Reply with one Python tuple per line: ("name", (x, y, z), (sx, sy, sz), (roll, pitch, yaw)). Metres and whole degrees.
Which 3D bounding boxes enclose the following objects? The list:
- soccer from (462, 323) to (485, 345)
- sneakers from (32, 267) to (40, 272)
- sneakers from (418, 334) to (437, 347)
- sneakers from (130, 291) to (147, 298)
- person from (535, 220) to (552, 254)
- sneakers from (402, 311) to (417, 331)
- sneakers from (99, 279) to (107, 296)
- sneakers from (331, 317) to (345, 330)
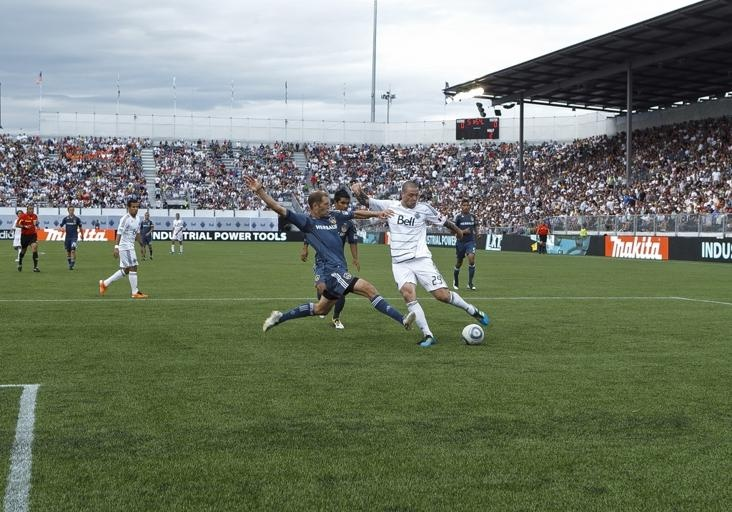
("soccer", (1.653, 1.232, 14.882), (0.316, 0.308, 0.302), (10, 32, 6))
("sneakers", (-8.933, 0.376, 26.032), (0.113, 0.122, 0.366), (-7, 4, -26))
("sneakers", (0.940, 1.310, 14.915), (0.268, 0.148, 0.484), (0, 5, 3))
("sneakers", (-4.634, 0.796, 19.578), (0.297, 0.131, 0.154), (0, 3, 6))
("person", (7.610, -0.779, 41.275), (0.517, 1.286, 1.480), (1, 6, 11))
("sneakers", (0.647, 1.049, 14.913), (0.142, 0.345, 0.159), (4, 33, -31))
("sneakers", (-5.499, 0.676, 20.077), (0.142, 0.307, 0.170), (-6, -4, 31))
("sneakers", (-0.489, 1.162, 16.320), (0.182, 0.134, 0.367), (-3, 3, -14))
